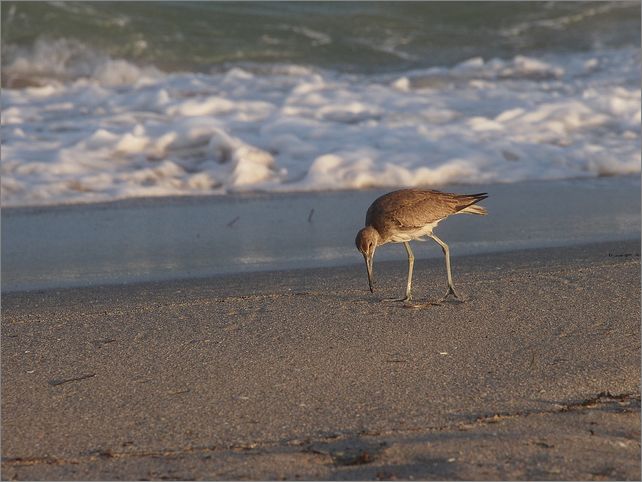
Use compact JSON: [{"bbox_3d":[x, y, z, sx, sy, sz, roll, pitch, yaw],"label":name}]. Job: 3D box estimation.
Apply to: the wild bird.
[{"bbox_3d":[1.551,0.016,14.589,1.957,1.566,1.089,-4,19,-2],"label":"wild bird"}]
